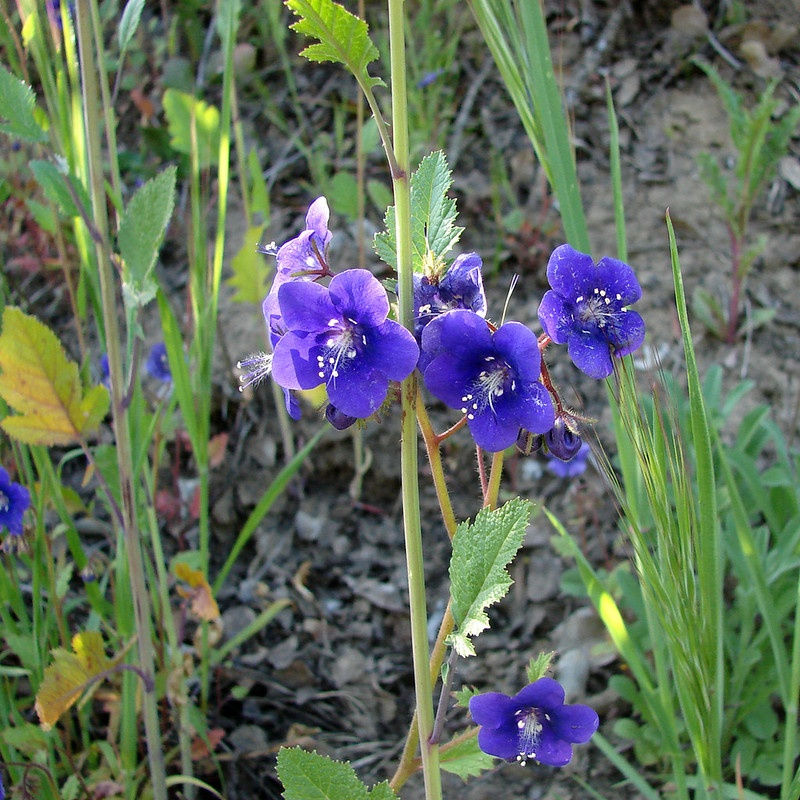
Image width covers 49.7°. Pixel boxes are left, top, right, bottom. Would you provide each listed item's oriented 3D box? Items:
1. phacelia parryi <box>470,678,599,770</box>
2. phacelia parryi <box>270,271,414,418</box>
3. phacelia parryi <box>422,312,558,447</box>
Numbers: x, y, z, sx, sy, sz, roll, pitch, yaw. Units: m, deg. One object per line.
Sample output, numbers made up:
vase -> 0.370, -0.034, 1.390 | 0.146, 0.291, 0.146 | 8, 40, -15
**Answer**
phacelia parryi -> 0.232, 0.591, 1.550 | 0.202, 0.083, 0.226 | -17, 8, -35
phacelia parryi -> -0.090, -0.090, 1.406 | 0.215, 0.245, 0.059 | -27, -2, 24
phacelia parryi -> 0.158, -0.054, 1.459 | 0.207, 0.219, 0.079 | 36, 25, 1
